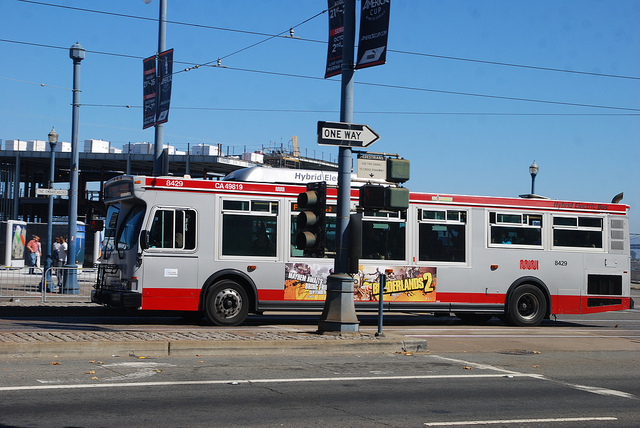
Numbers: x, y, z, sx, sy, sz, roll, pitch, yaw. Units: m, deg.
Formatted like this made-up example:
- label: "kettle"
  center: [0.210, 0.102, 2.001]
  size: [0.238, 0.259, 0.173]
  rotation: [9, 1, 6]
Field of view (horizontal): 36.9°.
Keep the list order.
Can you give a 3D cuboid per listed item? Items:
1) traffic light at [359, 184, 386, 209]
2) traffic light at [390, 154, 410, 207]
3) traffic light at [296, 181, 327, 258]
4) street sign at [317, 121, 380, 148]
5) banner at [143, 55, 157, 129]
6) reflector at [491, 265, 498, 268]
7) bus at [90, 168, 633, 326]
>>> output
- label: "traffic light"
  center: [1.235, -0.453, 23.759]
  size: [0.750, 0.719, 0.422]
  rotation: [2, -2, -32]
- label: "traffic light"
  center: [1.952, -0.841, 23.776]
  size: [0.448, 1.290, 0.604]
  rotation: [2, -3, 3]
- label: "traffic light"
  center: [-0.239, 0.096, 23.687]
  size: [0.705, 1.840, 0.626]
  rotation: [2, -3, -2]
- label: "street sign"
  center: [0.628, -1.970, 23.760]
  size: [1.533, 0.584, 0.249]
  rotation: [2, -3, -18]
- label: "banner"
  center: [-5.878, -4.090, 32.631]
  size: [0.172, 2.339, 0.995]
  rotation: [3, -3, -27]
- label: "reflector"
  center: [5.218, 1.533, 28.623]
  size: [0.217, 0.077, 0.027]
  rotation: [3, -3, -25]
- label: "bus"
  center: [1.357, 0.968, 27.903]
  size: [15.118, 4.404, 2.073]
  rotation: [2, -3, -9]
